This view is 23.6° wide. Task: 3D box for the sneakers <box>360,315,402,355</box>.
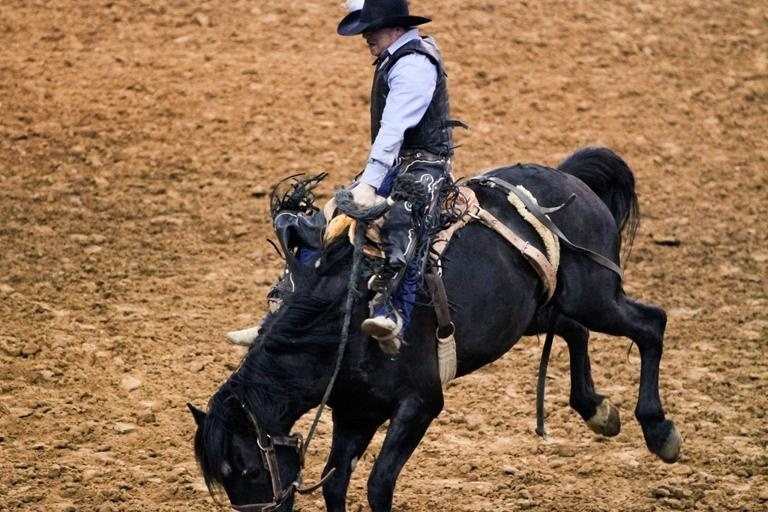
[{"bbox_3d":[-0.026,0.803,19.640,0.284,0.514,0.215,-7,46,20],"label":"sneakers"}]
